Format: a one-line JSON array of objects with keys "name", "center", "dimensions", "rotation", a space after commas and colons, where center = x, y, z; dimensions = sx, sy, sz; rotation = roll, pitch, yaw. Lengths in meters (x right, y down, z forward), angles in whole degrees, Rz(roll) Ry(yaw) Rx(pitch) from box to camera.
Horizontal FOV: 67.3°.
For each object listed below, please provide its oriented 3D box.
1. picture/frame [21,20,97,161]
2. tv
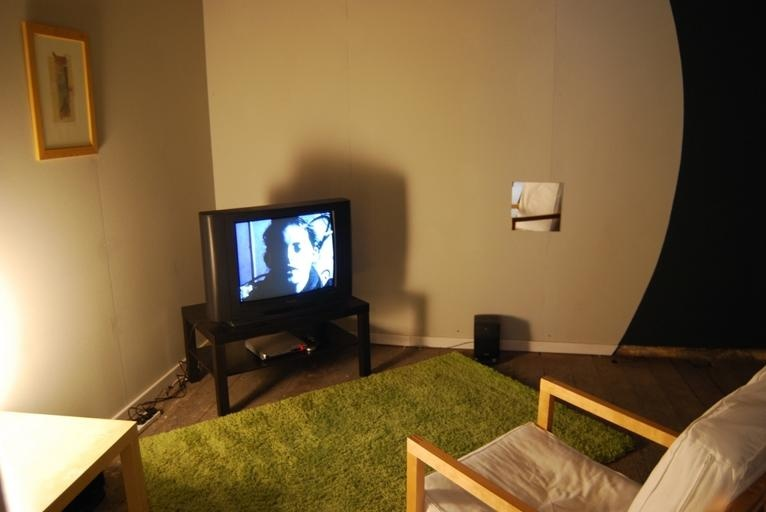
[{"name": "picture/frame", "center": [-1.856, -0.938, 3.325], "dimensions": [0.073, 0.722, 0.409], "rotation": [7, 15, 26]}, {"name": "tv", "center": [-0.829, -0.127, 4.231], "dimensions": [1.355, 0.999, 0.749], "rotation": [-9, 15, -29]}]
